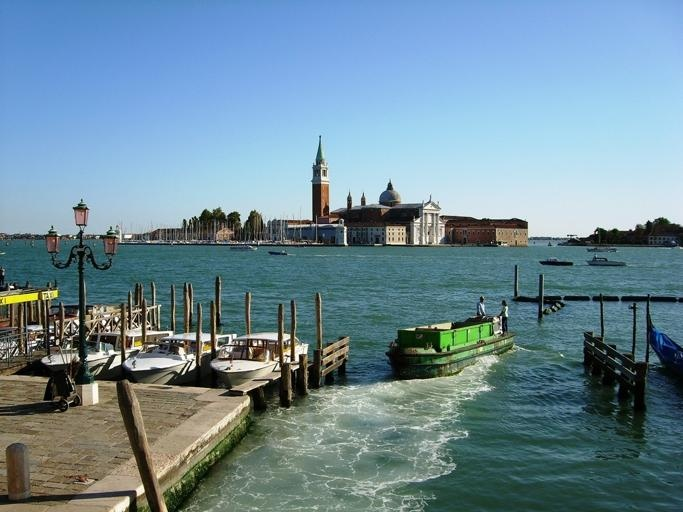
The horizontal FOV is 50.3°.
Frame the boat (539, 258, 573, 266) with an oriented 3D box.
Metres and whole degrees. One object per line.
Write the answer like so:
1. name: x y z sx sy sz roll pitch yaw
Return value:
1. boat: 34.961 1.227 118.838 4.752 0.920 4.074 -1 10 -11
